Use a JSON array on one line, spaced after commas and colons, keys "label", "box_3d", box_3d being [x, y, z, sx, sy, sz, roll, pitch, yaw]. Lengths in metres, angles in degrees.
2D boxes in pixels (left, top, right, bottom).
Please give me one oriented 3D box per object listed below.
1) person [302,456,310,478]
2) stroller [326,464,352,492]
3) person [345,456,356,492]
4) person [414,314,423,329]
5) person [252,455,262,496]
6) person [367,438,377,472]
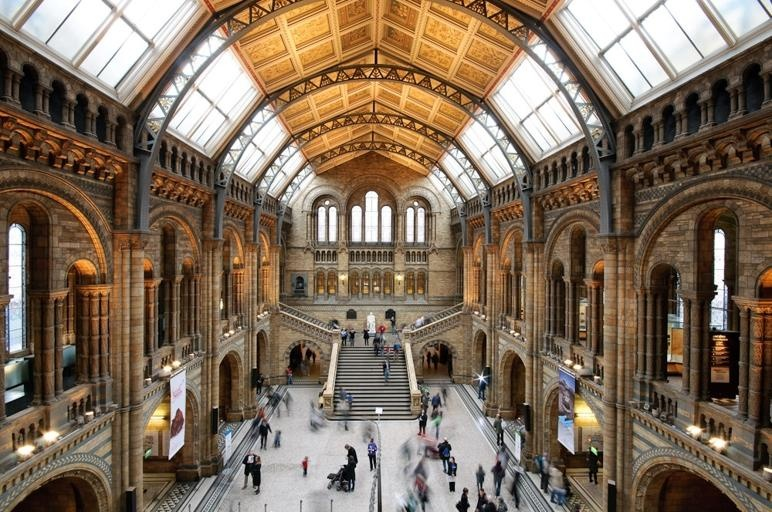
[{"label": "person", "box_3d": [-3.892, 10.273, 23.719, 0.332, 0.901, 0.859, -7, 8, -8]}, {"label": "stroller", "box_3d": [-1.993, 10.169, 22.268, 1.368, 1.284, 0.867, 4, -7, -1]}, {"label": "person", "box_3d": [-1.604, 9.964, 22.351, 0.420, 1.399, 0.548, 1, 4, 3]}, {"label": "person", "box_3d": [2.695, 5.494, 40.316, 0.600, 0.878, 0.922, -5, 2, 12]}, {"label": "person", "box_3d": [-5.840, 9.919, 22.173, 0.363, 1.552, 0.593, -1, 4, -16]}, {"label": "person", "box_3d": [-0.610, 9.767, 24.036, 0.412, 1.427, 0.953, 0, 4, -1]}]
